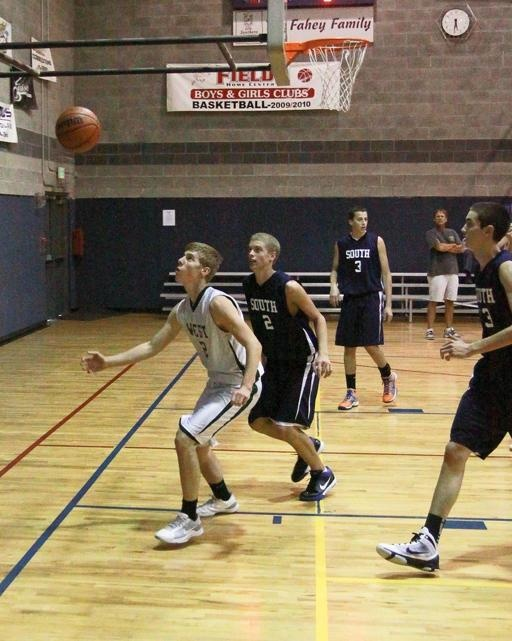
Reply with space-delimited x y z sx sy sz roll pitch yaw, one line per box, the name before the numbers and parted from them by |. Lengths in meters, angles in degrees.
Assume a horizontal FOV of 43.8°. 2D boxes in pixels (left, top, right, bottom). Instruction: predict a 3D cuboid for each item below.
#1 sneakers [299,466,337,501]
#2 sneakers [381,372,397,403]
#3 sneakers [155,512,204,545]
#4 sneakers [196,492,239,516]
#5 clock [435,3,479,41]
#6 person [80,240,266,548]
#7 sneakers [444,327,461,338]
sneakers | 0.299 0.796 3.110 0.088 0.107 0.238 -1 6 27
sneakers | 1.065 0.546 5.068 0.093 0.264 0.134 -1 -16 32
sneakers | -0.305 0.852 2.589 0.088 0.100 0.231 0 -6 33
sneakers | -0.176 0.849 2.920 0.200 0.090 0.070 -2 -2 -11
clock | 2.947 -4.402 9.376 0.548 0.466 0.126 0 8 1
person | -0.229 0.292 2.703 0.766 1.226 0.666 7 9 29
sneakers | 2.310 0.146 7.557 0.100 0.115 0.287 2 7 19
